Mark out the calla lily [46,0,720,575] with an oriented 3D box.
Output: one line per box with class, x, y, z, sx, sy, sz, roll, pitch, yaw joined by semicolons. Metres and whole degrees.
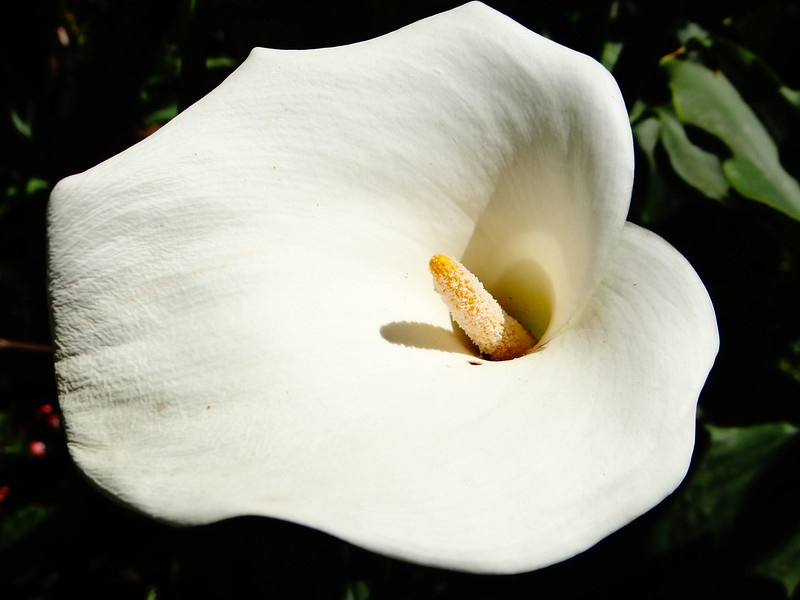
calla lily;-0.035;0.016;0.915;0.664;0.284;0.621;-20;78;-5
